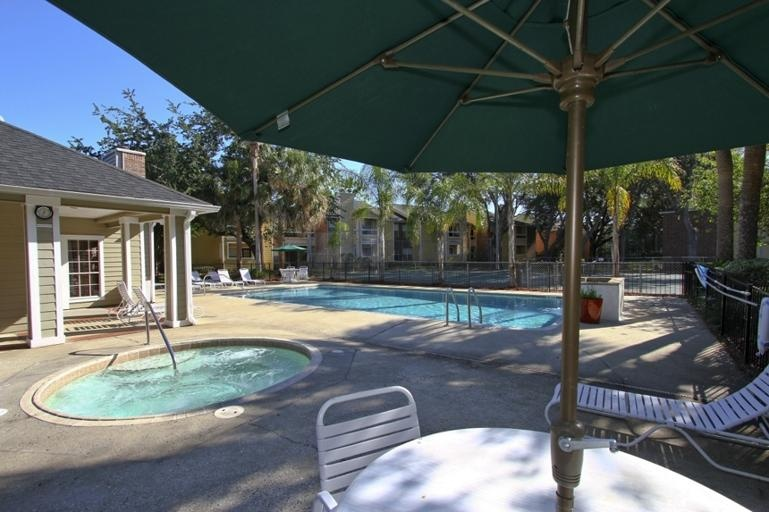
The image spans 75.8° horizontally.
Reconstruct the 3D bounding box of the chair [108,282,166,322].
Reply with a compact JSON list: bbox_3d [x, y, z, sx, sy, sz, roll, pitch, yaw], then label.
[{"bbox_3d":[-7.019,1.297,13.864,0.810,1.156,1.670,1,5,9],"label":"chair"}]

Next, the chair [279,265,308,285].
[{"bbox_3d":[-5.175,1.098,28.219,1.106,0.765,1.163,1,3,-6],"label":"chair"}]

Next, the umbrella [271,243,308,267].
[{"bbox_3d":[-7.151,-0.264,38.317,2.045,1.633,2.182,1,-2,-7],"label":"umbrella"}]
